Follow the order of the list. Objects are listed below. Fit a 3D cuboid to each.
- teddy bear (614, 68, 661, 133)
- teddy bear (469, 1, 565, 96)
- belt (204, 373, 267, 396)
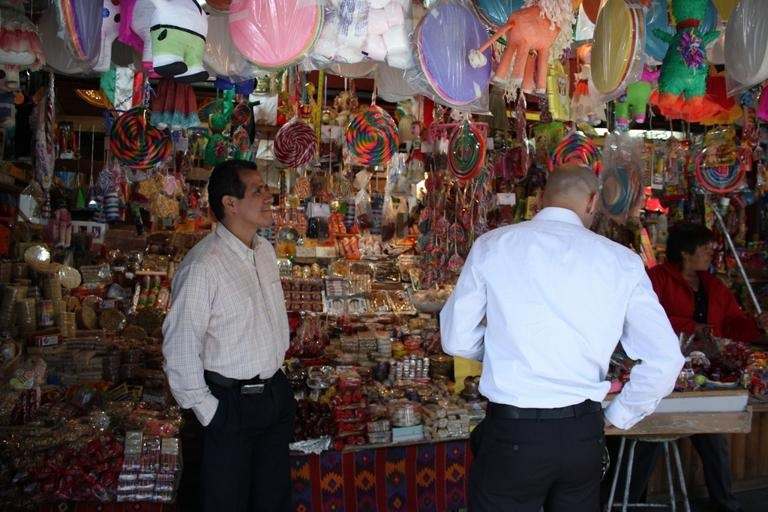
[{"bbox_3d":[1.518,-0.963,3.815,0.213,0.296,0.336,0,-2,-1],"label":"teddy bear"},{"bbox_3d":[0.718,-1.113,3.365,0.410,0.437,0.408,1,-3,-27],"label":"teddy bear"},{"bbox_3d":[-0.793,0.673,3.372,0.329,0.127,0.052,1,-3,-18],"label":"belt"}]
